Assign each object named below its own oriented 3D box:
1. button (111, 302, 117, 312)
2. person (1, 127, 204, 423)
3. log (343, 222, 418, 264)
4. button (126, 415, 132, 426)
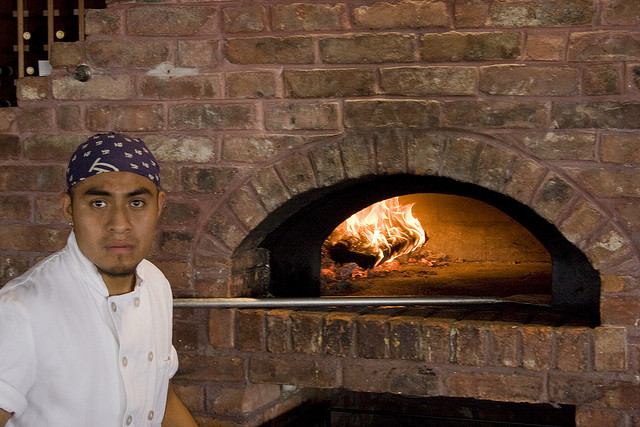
[{"bbox_3d":[-0.731,0.333,2.163,0.016,0.031,0.015,-1,14,-7],"label":"button"},{"bbox_3d":[-0.792,0.302,2.170,0.469,1.169,0.622,4,14,14],"label":"person"},{"bbox_3d":[0.435,0.199,4.214,0.139,0.222,0.610,12,14,41],"label":"log"},{"bbox_3d":[-0.675,0.734,2.157,0.013,0.029,0.041,7,3,10],"label":"button"}]
